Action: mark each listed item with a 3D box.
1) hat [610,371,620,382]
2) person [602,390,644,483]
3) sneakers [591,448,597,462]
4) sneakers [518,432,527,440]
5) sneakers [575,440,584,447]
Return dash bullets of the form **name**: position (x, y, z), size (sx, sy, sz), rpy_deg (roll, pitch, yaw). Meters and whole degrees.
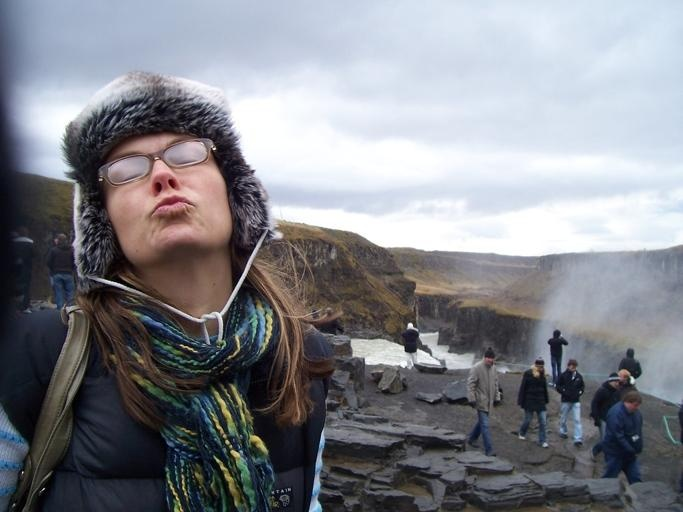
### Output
- **hat**: position (5.227, 2.324, 11.266), size (0.199, 0.163, 0.456), rpy_deg (3, 0, 26)
- **person**: position (4.671, 3.052, 9.755), size (0.570, 1.689, 1.028), rpy_deg (3, 0, 26)
- **sneakers**: position (5.162, 4.099, 12.009), size (0.094, 0.274, 0.265), rpy_deg (-2, -9, 2)
- **sneakers**: position (4.030, 4.049, 13.122), size (0.253, 0.106, 0.241), rpy_deg (-4, -13, -1)
- **sneakers**: position (5.207, 4.145, 12.874), size (0.152, 0.100, 0.134), rpy_deg (0, -3, 0)
